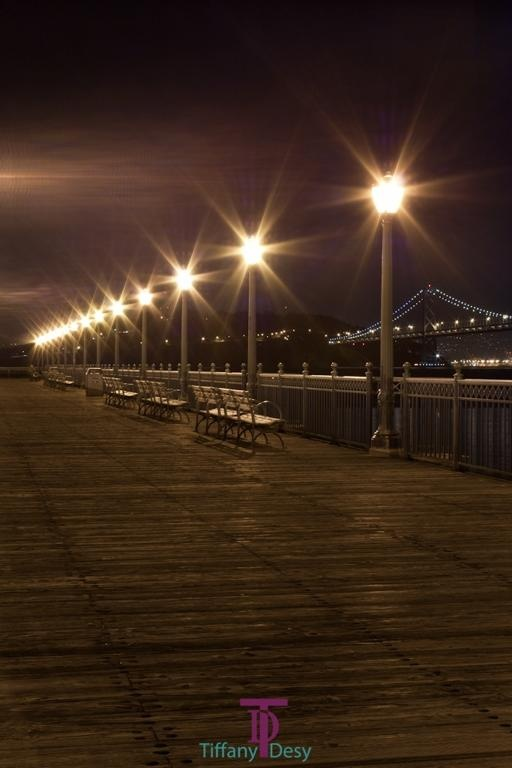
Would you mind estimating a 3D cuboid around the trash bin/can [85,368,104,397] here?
[{"bbox_3d":[-7.422,0.065,41.087,0.815,1.036,0.797,-1,2,-24],"label":"trash bin/can"}]
